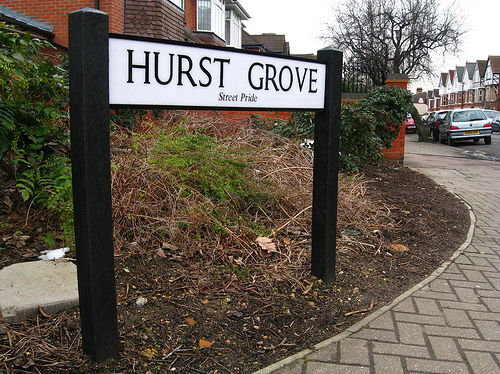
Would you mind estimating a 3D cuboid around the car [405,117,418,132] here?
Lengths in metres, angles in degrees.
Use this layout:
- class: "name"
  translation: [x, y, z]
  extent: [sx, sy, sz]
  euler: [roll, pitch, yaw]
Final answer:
- class: "car"
  translation: [13.950, -5.401, 34.029]
  extent: [0.747, 1.139, 2.202]
  euler: [4, 14, 22]

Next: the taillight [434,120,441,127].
- class: "taillight"
  translation: [11.474, -3.929, 24.108]
  extent: [0.262, 0.349, 0.380]
  euler: [3, 4, 34]

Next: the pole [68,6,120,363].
- class: "pole"
  translation: [-1.089, 0.029, 2.740]
  extent: [0.336, 2.468, 0.369]
  euler: [-3, 12, -9]

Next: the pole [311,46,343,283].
- class: "pole"
  translation: [0.762, -0.197, 3.936]
  extent: [0.263, 2.348, 0.430]
  euler: [2, 12, 12]

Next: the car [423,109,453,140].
- class: "car"
  translation: [12.389, -4.097, 25.654]
  extent: [1.795, 1.454, 2.939]
  euler: [-2, 14, 7]

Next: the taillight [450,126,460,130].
- class: "taillight"
  translation: [11.241, -3.266, 21.605]
  extent: [0.430, 0.193, 0.099]
  euler: [5, 13, 23]

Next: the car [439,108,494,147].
- class: "car"
  translation: [12.143, -3.394, 22.126]
  extent: [2.371, 1.969, 1.884]
  euler: [3, 13, 18]
